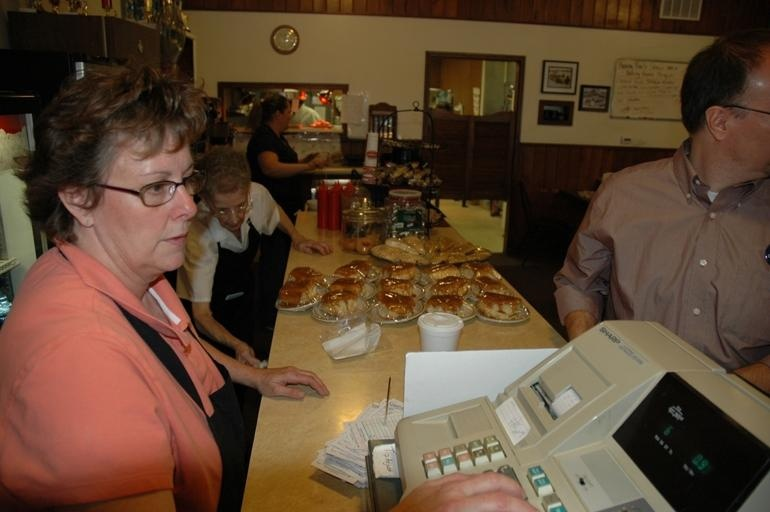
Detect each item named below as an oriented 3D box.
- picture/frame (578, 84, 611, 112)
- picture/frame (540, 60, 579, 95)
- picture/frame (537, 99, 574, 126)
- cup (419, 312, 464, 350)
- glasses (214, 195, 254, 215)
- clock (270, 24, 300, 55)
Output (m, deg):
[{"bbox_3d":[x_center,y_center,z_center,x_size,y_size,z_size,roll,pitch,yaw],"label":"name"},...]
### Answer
[{"bbox_3d":[2.669,-2.034,6.713,0.347,0.298,0.029,0,11,-7],"label":"picture/frame"},{"bbox_3d":[2.197,-2.275,6.618,0.424,0.366,0.032,-2,16,-3],"label":"picture/frame"},{"bbox_3d":[2.170,-1.850,6.704,0.321,0.230,0.033,0,10,-8],"label":"picture/frame"},{"bbox_3d":[0.195,0.255,1.761,0.130,0.100,0.130,1,14,0],"label":"cup"},{"bbox_3d":[-0.748,-0.234,2.600,0.115,0.035,0.114,-22,51,-28],"label":"glasses"},{"bbox_3d":[-1.182,-2.532,6.154,0.312,0.314,0.310,-1,34,-14],"label":"clock"}]
